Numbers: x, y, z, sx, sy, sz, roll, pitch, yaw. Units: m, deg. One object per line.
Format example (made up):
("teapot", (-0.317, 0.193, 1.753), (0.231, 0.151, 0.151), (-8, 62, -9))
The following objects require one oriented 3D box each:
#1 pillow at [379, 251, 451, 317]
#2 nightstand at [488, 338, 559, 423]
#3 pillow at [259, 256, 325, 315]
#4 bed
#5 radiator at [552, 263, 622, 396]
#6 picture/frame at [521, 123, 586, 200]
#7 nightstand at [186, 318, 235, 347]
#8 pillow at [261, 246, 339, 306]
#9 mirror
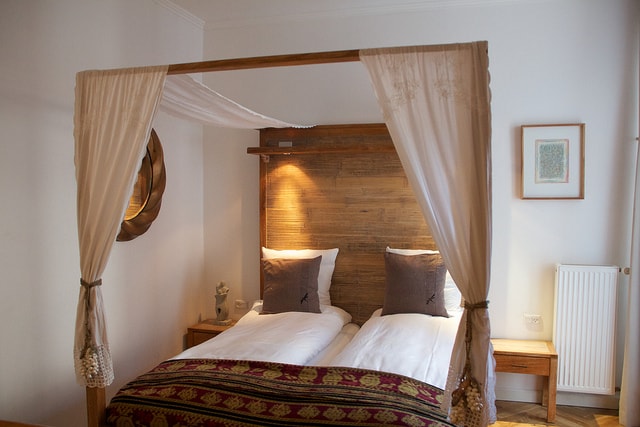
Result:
("pillow", (0.948, 0.690, 4.573), (0.737, 0.673, 0.276), (2, -14, 25))
("nightstand", (1.996, 1.575, 4.743), (0.895, 0.696, 0.646), (-1, -2, 17))
("pillow", (-0.273, 0.750, 4.828), (0.549, 0.459, 0.199), (-4, -24, 9))
("bed", (-0.233, 0.543, 4.199), (2.974, 2.727, 1.077), (-1, 0, 21))
("radiator", (2.574, 1.137, 4.611), (0.650, 1.203, 0.137), (5, -3, -6))
("picture/frame", (2.348, -0.533, 4.671), (0.827, 0.977, 0.045), (0, 1, 13))
("nightstand", (-1.190, 1.264, 5.207), (0.391, 0.378, 0.397), (0, 0, 21))
("pillow", (-0.190, 0.670, 4.927), (0.643, 0.545, 0.233), (1, -23, 6))
("mirror", (-1.761, -0.282, 4.673), (0.166, 1.098, 0.653), (-1, 2, 18))
